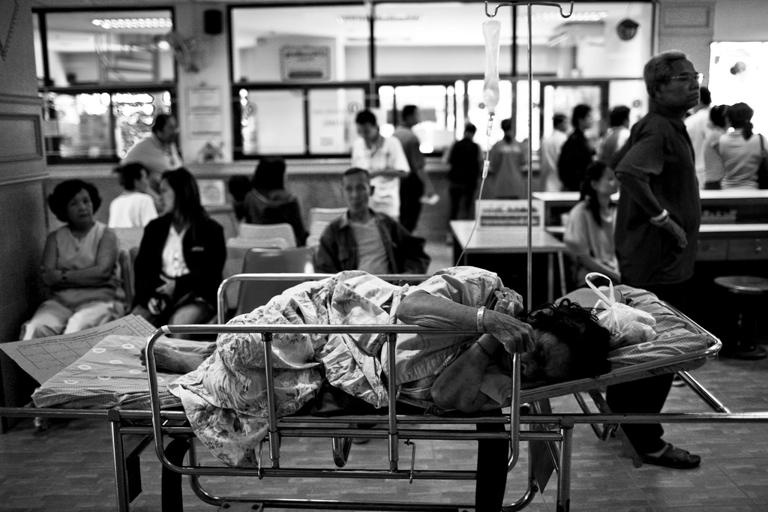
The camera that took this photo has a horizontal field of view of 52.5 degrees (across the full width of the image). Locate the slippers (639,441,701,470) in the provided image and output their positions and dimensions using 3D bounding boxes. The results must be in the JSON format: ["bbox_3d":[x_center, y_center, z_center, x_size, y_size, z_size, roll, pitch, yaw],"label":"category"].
[{"bbox_3d":[1.891,1.332,5.212,0.432,0.160,0.169,-1,13,9],"label":"slippers"}]

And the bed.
[{"bbox_3d":[-0.121,0.538,4.693,3.214,1.257,1.580,-1,12,1],"label":"bed"}]

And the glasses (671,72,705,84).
[{"bbox_3d":[2.098,-1.230,5.386,0.245,0.079,0.076,-5,10,-27],"label":"glasses"}]

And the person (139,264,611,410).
[{"bbox_3d":[0.110,0.523,4.256,1.796,0.504,1.024,-1,7,1],"label":"person"}]

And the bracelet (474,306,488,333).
[{"bbox_3d":[0.499,0.320,4.004,0.099,0.100,0.086,-1,-21,10],"label":"bracelet"}]
